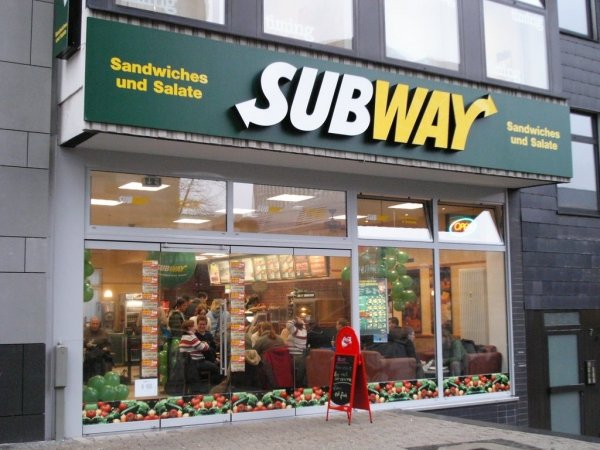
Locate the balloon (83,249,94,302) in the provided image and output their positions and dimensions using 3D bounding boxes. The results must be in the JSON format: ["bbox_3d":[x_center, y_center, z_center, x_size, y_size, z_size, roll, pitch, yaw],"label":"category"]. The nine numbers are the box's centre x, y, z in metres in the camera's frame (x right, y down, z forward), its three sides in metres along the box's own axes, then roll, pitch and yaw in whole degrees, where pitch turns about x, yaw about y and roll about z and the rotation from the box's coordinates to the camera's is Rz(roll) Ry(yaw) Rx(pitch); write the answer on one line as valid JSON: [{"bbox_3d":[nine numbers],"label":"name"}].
[{"bbox_3d":[-2.986,0.716,8.464,0.146,0.732,0.082,3,-12,-26],"label":"balloon"}]

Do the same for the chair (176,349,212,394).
[{"bbox_3d":[-1.629,2.204,9.080,0.433,0.609,0.460,8,-4,-38],"label":"chair"}]

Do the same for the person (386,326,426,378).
[{"bbox_3d":[1.888,2.167,10.660,0.569,0.953,0.570,3,-2,-28],"label":"person"}]

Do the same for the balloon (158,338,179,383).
[{"bbox_3d":[-1.943,2.025,8.875,0.271,0.678,0.115,0,-11,-13],"label":"balloon"}]

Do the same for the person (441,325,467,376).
[{"bbox_3d":[2.843,2.274,11.133,0.455,0.909,0.512,2,-2,-31],"label":"person"}]
